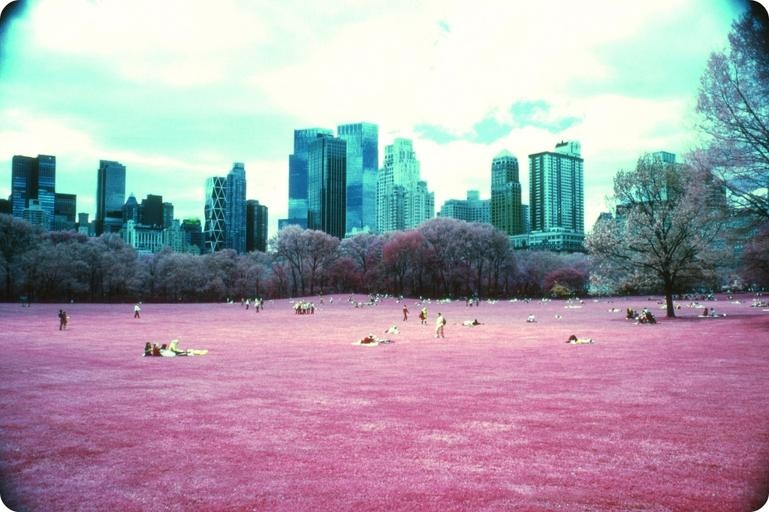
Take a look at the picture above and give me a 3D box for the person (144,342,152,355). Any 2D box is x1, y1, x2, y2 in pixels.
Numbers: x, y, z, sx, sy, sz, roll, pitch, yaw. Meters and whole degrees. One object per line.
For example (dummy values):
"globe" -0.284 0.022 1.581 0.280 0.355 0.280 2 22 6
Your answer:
"person" -11.829 4.655 38.458 0.378 0.511 0.989 -4 14 -17

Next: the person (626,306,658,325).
"person" 20.719 4.773 61.758 2.487 1.382 1.184 0 0 -34
